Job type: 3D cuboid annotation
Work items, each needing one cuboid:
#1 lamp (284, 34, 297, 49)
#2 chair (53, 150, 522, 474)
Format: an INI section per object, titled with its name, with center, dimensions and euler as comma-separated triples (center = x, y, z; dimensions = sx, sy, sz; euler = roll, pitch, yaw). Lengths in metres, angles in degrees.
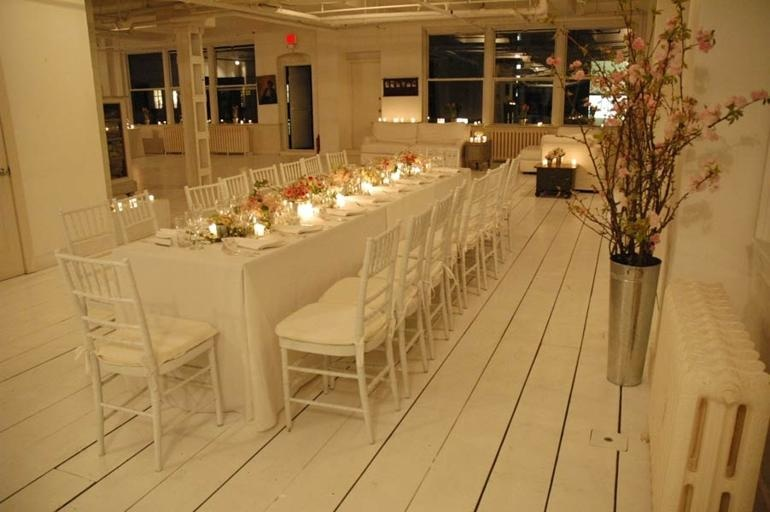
[lamp]
center = -2.813, -6.476, 16.418
dimensions = 0.363, 0.386, 0.449
euler = -3, 15, -6
[chair]
center = -0.720, 0.467, 4.292
dimensions = 1.347, 0.836, 2.457
euler = 9, 22, 27
